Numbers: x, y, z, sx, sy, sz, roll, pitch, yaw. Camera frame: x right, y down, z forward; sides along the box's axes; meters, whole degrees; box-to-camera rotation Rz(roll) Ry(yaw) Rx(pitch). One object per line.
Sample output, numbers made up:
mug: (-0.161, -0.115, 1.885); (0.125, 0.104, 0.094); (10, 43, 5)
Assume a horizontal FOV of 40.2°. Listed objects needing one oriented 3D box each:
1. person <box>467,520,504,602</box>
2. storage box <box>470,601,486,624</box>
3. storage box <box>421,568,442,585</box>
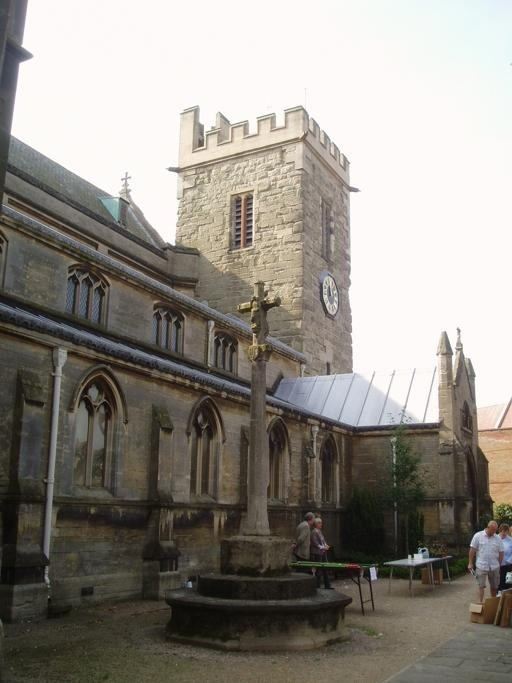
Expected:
person: (4.267, 4.055, 12.938); (0.627, 1.441, 0.964); (-6, -15, 19)
storage box: (3.617, 4.417, 11.461); (0.229, 0.304, 0.334); (-5, -15, 15)
storage box: (4.584, 6.095, 18.241); (0.601, 0.454, 0.620); (-2, -13, 11)
